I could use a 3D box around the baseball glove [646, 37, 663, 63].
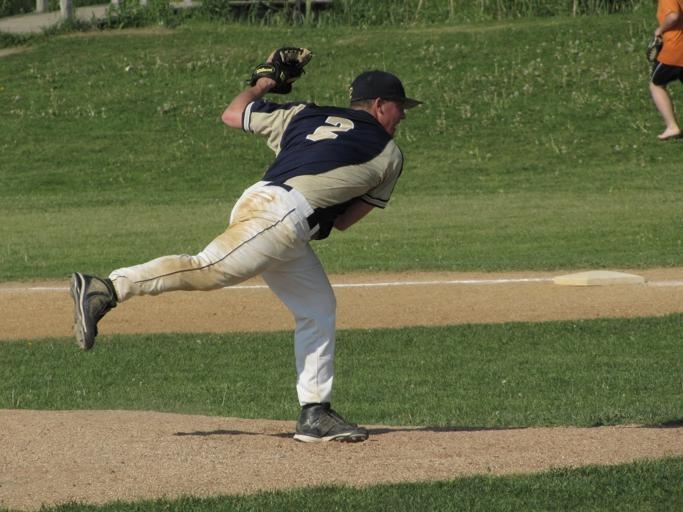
[{"bbox_3d":[7.312,-4.820,40.881,0.245,0.717,0.206,16,-3,-34],"label":"baseball glove"}]

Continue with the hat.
[{"bbox_3d":[0.783,-3.443,35.773,1.146,0.614,0.766,-2,9,-4],"label":"hat"}]
